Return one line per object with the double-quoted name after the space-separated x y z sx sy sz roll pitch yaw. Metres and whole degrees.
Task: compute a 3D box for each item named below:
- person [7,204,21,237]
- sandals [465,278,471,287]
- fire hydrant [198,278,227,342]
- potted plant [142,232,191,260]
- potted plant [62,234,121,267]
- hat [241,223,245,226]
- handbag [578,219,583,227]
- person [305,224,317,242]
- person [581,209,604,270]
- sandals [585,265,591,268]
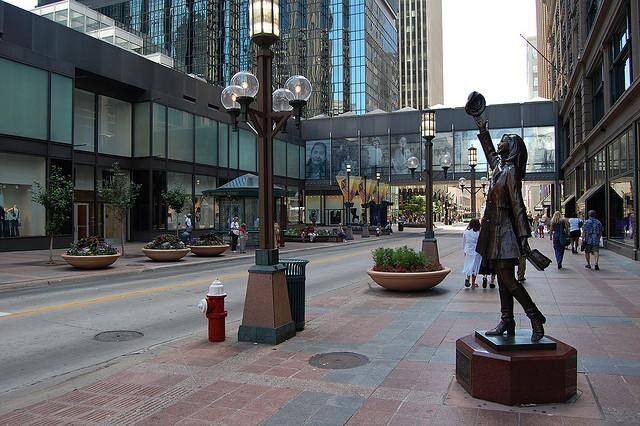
-17.996 0.452 30.181 0.410 1.820 0.830 0 4 17 "person"
5.051 2.416 17.665 0.124 0.365 0.243 -5 34 15 "sandals"
-2.606 2.311 12.493 0.608 1.435 0.941 -2 4 -12 "fire hydrant"
-7.718 1.719 25.700 1.537 0.903 1.427 0 -3 -3 "potted plant"
-10.156 1.850 23.110 1.906 1.259 2.277 -2 -1 -17 "potted plant"
-4.560 0.662 30.432 0.240 0.141 0.249 -2 -5 27 "hat"
13.944 0.538 27.601 0.300 0.422 0.150 12 -4 -40 "handbag"
-0.838 1.597 41.480 1.281 1.835 1.042 1 -15 -5 "person"
11.493 1.111 21.865 0.810 2.394 0.799 0 -2 8 "person"
11.401 2.271 21.919 0.133 0.162 0.374 2 1 7 "sandals"
